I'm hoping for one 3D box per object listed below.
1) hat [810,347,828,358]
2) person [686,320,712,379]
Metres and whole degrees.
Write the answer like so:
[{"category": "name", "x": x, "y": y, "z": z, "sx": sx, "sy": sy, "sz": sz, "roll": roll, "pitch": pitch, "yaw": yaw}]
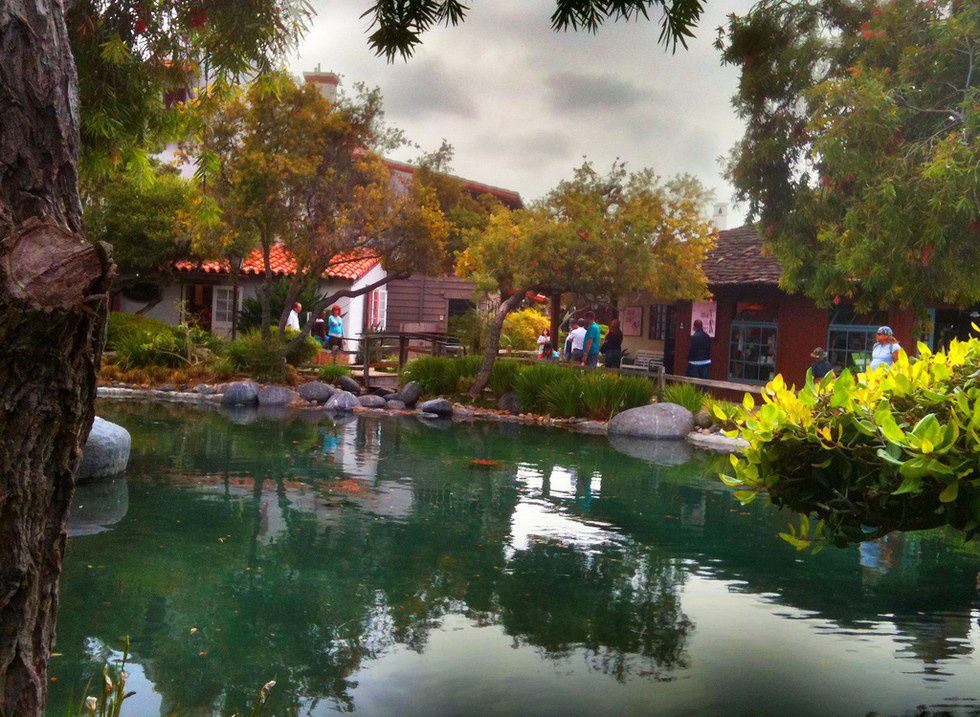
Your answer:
[{"category": "hat", "x": 7.332, "y": -0.154, "z": 18.143, "sx": 0.295, "sy": 0.162, "sz": 0.454, "roll": 0, "pitch": -2, "yaw": 15}, {"category": "person", "x": 5.974, "y": -0.274, "z": 23.154, "sx": 0.522, "sy": 1.678, "sz": 2.273, "roll": 3, "pitch": 5, "yaw": 17}]
